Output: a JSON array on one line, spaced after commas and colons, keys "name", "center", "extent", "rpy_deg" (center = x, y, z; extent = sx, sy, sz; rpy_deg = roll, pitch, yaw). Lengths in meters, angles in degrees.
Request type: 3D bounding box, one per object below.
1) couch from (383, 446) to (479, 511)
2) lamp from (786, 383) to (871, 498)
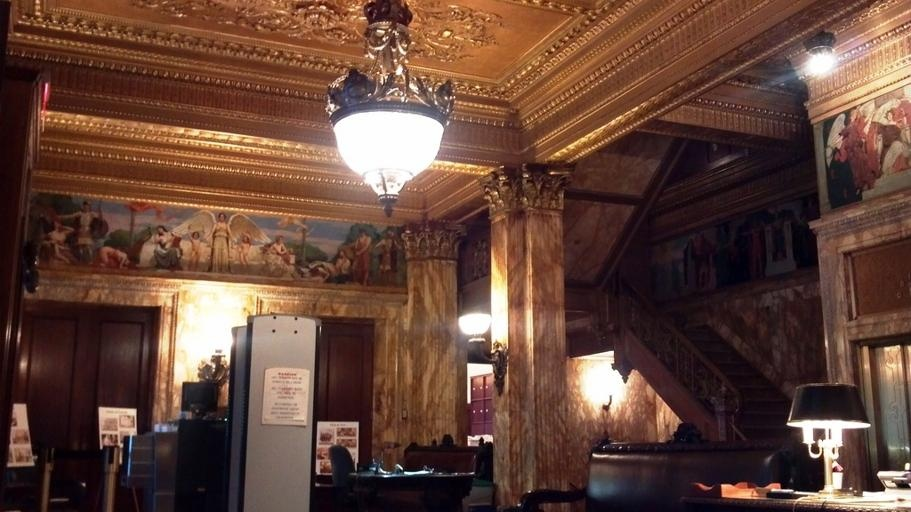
[{"name": "couch", "center": [-0.403, 4.153, 17.017], "extent": [1.086, 1.496, 1.349], "rpy_deg": [-1, -28, 3]}, {"name": "lamp", "center": [4.840, 2.384, 11.594], "extent": [0.877, 1.374, 1.660], "rpy_deg": [-8, -18, 23]}]
